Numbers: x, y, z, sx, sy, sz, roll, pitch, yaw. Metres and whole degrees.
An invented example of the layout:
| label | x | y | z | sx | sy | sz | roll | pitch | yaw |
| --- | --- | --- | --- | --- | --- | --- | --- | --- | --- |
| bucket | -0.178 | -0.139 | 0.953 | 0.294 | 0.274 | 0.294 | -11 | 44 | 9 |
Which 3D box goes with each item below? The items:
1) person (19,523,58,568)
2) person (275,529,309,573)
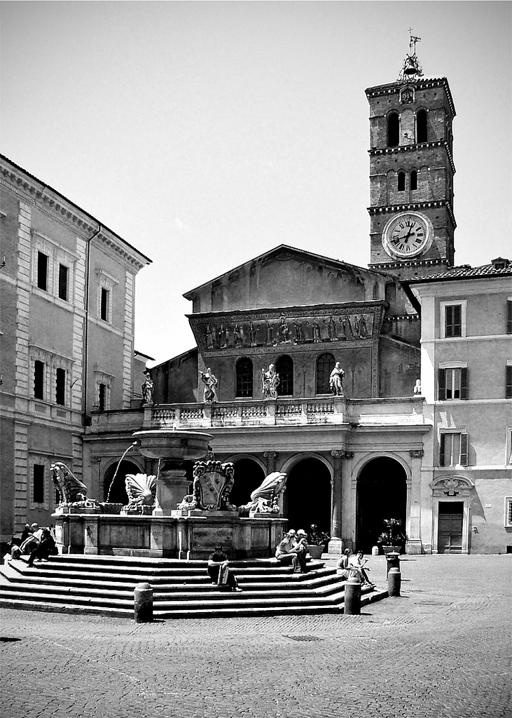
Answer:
| label | x | y | z | sx | sy | sz | roll | pitch | yaw |
| --- | --- | --- | --- | --- | --- | --- | --- | --- | --- |
| person | -4.308 | 3.796 | 25.805 | 0.655 | 0.773 | 1.972 | 1 | -10 | -9 |
| person | 0.710 | 3.793 | 25.310 | 0.587 | 0.838 | 1.074 | 0 | -9 | 1 |
